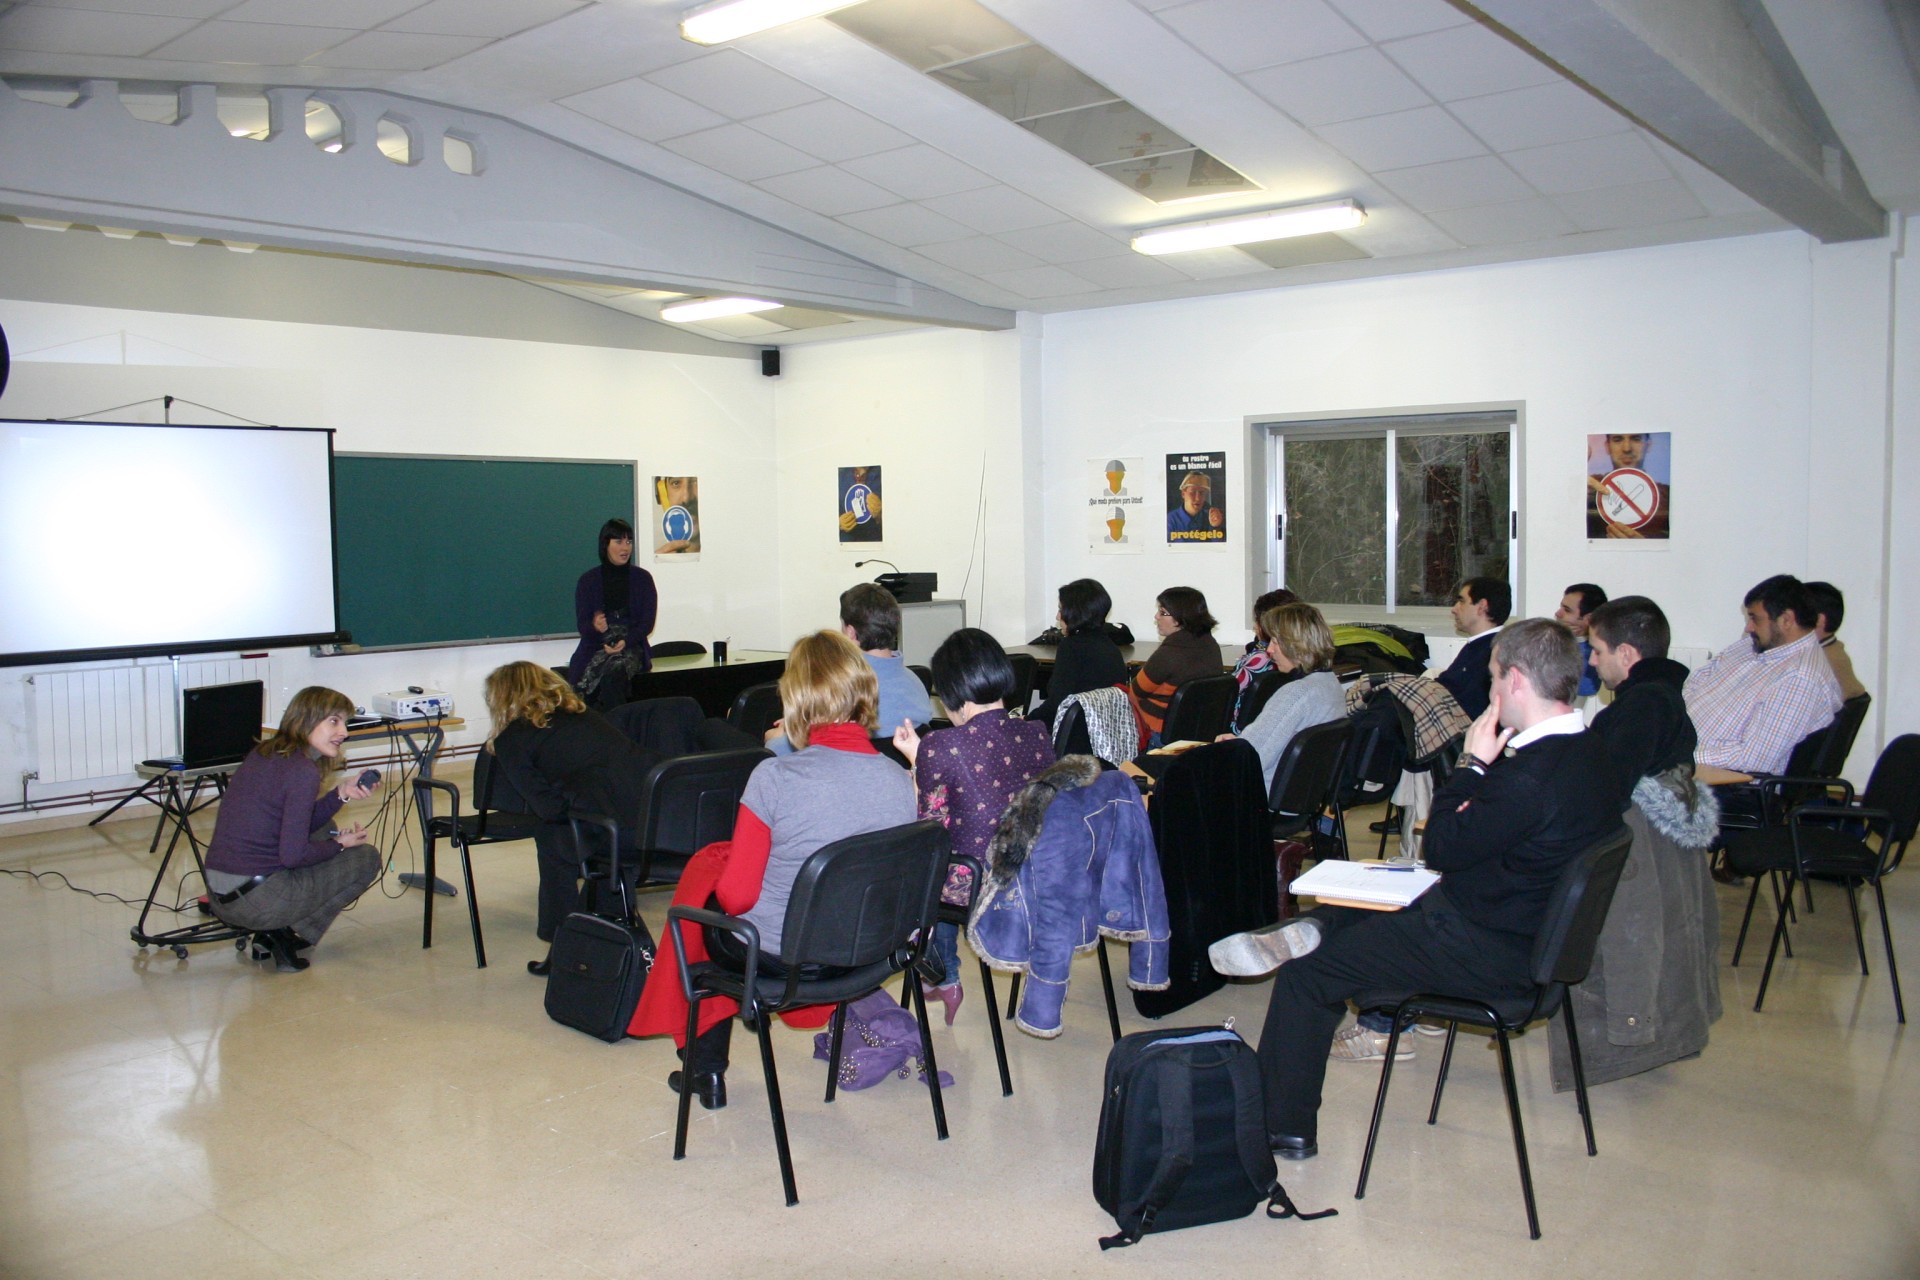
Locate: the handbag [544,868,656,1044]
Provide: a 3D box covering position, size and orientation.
[{"bbox_3d":[-1.487,1.324,5.494,0.594,0.693,0.296,4,-3,38],"label":"handbag"}]

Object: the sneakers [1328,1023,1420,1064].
[{"bbox_3d":[1.642,1.599,5.303,0.301,0.100,0.220,2,-4,-29],"label":"sneakers"}]

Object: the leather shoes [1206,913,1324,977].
[{"bbox_3d":[1.098,1.075,4.716,0.333,0.099,0.198,-17,7,-35],"label":"leather shoes"}]

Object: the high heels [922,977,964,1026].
[{"bbox_3d":[-0.086,1.457,5.409,0.109,0.164,0.328,-3,4,-8],"label":"high heels"}]

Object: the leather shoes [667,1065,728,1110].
[{"bbox_3d":[-0.989,1.654,4.985,0.107,0.133,0.298,-1,10,-29],"label":"leather shoes"}]

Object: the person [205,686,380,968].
[{"bbox_3d":[-3.109,0.868,6.148,0.689,1.287,0.480,-11,17,-36],"label":"person"}]

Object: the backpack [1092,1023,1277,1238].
[{"bbox_3d":[0.728,1.603,4.269,0.643,0.622,0.347,0,-2,-23],"label":"backpack"}]

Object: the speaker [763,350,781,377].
[{"bbox_3d":[-1.694,-2.497,11.931,0.195,0.233,0.068,-2,14,-4],"label":"speaker"}]

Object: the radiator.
[{"bbox_3d":[-4.927,0.483,7.893,0.866,0.467,0.059,-2,7,-41],"label":"radiator"}]

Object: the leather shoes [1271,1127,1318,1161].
[{"bbox_3d":[1.150,1.731,4.578,0.124,0.046,0.092,1,0,34],"label":"leather shoes"}]

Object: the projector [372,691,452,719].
[{"bbox_3d":[-3.416,0.410,8.223,0.291,0.127,0.297,4,3,39],"label":"projector"}]

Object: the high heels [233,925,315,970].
[{"bbox_3d":[-3.209,1.451,6.238,0.503,0.199,0.155,3,0,-32],"label":"high heels"}]
